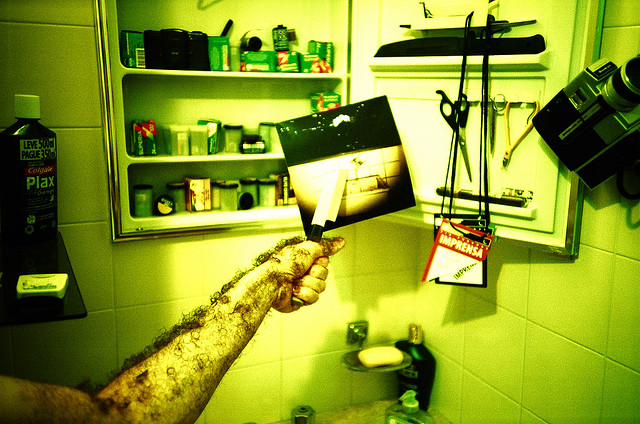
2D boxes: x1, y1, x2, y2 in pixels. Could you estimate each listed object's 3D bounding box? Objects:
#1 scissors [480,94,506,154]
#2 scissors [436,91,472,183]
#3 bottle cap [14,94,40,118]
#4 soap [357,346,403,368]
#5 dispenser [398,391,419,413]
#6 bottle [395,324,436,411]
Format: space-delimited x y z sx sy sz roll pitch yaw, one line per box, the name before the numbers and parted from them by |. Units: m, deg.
scissors | 0.530 -0.275 1.683 0.072 0.177 0.007 8 13 25
scissors | 0.434 -0.243 1.718 0.095 0.262 0.018 -18 2 44
bottle cap | -0.765 -0.278 1.457 0.063 0.057 0.059 1 6 -9
soap | 0.230 0.548 2.082 0.169 0.061 0.092 -7 11 -15
dispenser | 0.331 0.705 2.065 0.059 0.080 0.076 -5 11 -3
bottle | 0.394 0.635 2.271 0.161 0.347 0.132 -3 10 5
